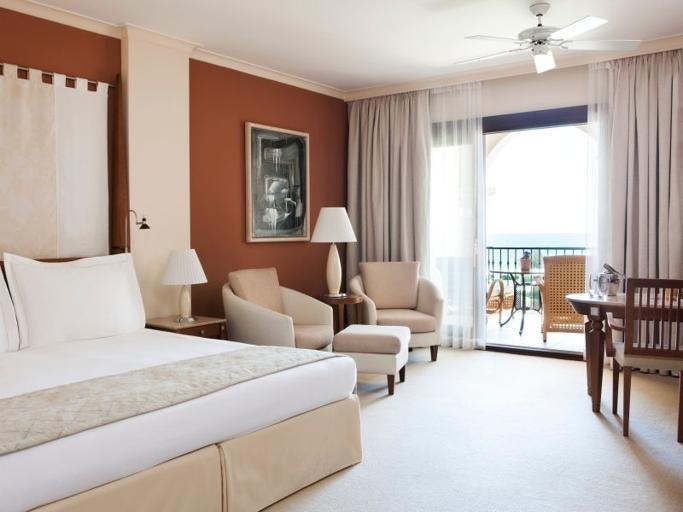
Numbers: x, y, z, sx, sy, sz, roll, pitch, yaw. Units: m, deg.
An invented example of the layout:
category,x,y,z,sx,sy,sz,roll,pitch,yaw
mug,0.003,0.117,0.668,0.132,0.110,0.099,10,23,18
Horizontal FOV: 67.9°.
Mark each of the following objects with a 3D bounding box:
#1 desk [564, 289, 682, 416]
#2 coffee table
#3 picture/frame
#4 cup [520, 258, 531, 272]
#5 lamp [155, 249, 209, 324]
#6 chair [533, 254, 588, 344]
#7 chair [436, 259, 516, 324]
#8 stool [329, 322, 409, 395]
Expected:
category,x,y,z,sx,sy,sz,roll,pitch,yaw
desk,2.264,0.782,4.272,0.771,0.724,0.793,-1,0,-12
coffee table,2.954,0.689,8.119,0.857,0.903,0.853,6,-1,-27
picture/frame,-0.727,-0.812,5.796,0.086,1.299,0.983,5,8,40
cup,2.650,0.129,7.389,0.175,0.289,0.193,0,-1,14
lamp,-1.416,0.276,4.563,0.455,0.650,0.464,3,5,43
chair,2.909,0.565,6.602,0.789,1.035,0.847,7,-8,-21
chair,2.204,0.523,7.299,0.640,0.711,0.512,-13,2,-30
stool,0.266,1.002,4.751,0.730,0.500,0.761,-4,-15,28
